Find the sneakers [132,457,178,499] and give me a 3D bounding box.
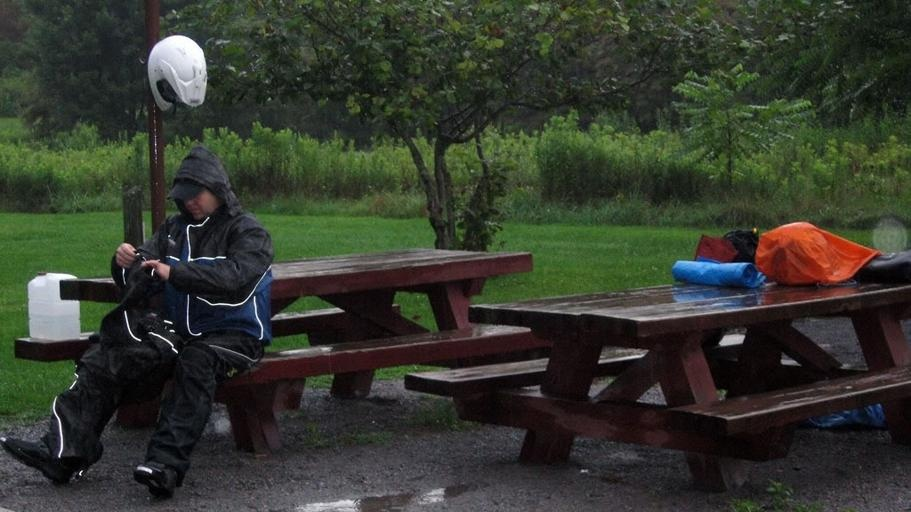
[{"bbox_3d":[-2.647,1.899,8.274,0.241,0.507,0.293,2,51,8],"label":"sneakers"}]
